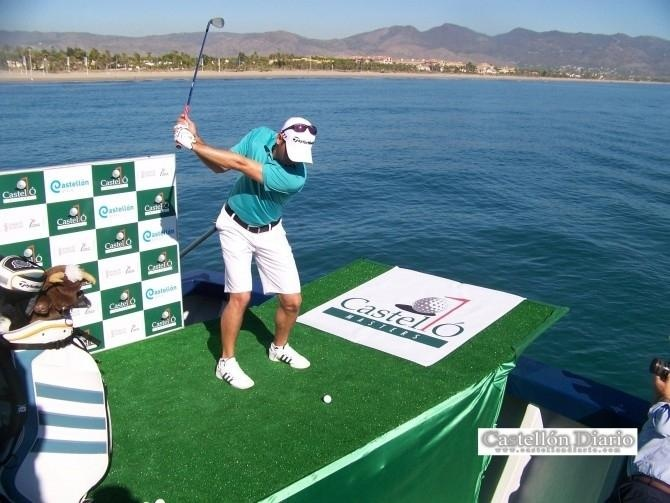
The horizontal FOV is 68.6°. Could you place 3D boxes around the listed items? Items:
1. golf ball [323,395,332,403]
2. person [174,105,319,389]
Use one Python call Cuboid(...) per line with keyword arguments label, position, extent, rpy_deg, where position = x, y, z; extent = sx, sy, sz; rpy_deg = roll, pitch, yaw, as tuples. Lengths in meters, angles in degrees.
Cuboid(label="golf ball", position=(-0.070, 1.360, 4.517), extent=(0.064, 0.030, 0.064), rpy_deg=(1, 29, -1))
Cuboid(label="person", position=(-0.748, 0.027, 4.788), extent=(1.290, 2.603, 1.327), rpy_deg=(-3, 6, -33))
